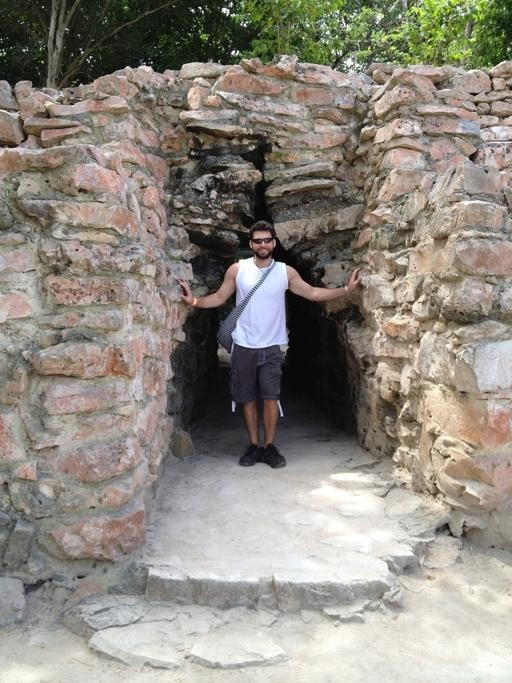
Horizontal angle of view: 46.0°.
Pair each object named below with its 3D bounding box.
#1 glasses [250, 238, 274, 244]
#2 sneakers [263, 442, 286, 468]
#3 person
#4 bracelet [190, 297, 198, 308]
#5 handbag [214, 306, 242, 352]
[{"bbox_3d":[0.043,-0.611,3.694,0.115,0.040,0.052,-3,13,-10],"label":"glasses"},{"bbox_3d":[0.115,0.731,3.803,0.112,0.099,0.273,-5,13,-17],"label":"sneakers"},{"bbox_3d":[-0.006,0.020,3.796,0.924,1.508,0.517,1,15,6],"label":"person"},{"bbox_3d":[-0.388,-0.243,3.855,0.079,0.051,0.074,4,12,1],"label":"bracelet"},{"bbox_3d":[-0.229,-0.045,3.974,0.253,0.297,0.175,1,6,12],"label":"handbag"}]
